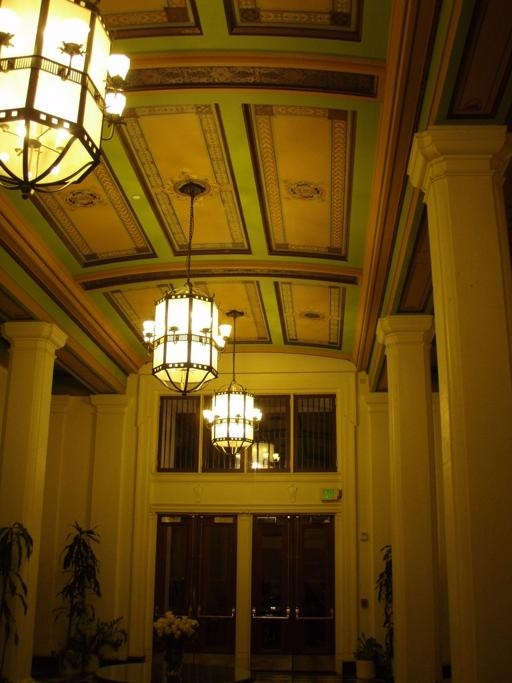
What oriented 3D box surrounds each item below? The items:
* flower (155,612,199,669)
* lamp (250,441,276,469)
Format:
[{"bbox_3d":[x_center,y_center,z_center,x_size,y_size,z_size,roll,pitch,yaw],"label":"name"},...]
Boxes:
[{"bbox_3d":[-0.877,3.236,6.183,0.456,0.560,0.465,1,-21,-2],"label":"flower"},{"bbox_3d":[0.097,2.496,12.497,0.521,0.667,0.527,3,-23,-5],"label":"lamp"}]
